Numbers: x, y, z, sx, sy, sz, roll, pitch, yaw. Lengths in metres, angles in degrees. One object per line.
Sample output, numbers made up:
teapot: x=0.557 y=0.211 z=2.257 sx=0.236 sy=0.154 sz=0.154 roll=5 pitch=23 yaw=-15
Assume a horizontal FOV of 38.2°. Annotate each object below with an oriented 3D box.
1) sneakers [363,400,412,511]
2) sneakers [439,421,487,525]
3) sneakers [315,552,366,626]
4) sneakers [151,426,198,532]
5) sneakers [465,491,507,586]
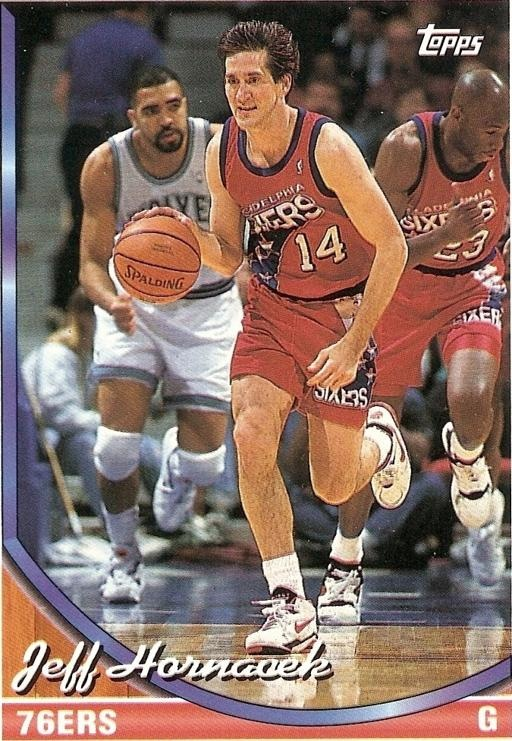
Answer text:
sneakers: x=0.389 y=0.253 z=2.167 sx=0.145 sy=0.283 sz=0.125 roll=-3 pitch=8 yaw=18
sneakers: x=0.627 y=0.300 z=2.146 sx=0.124 sy=0.110 sz=0.311 roll=-6 pitch=41 yaw=13
sneakers: x=0.228 y=0.624 z=2.089 sx=0.083 sy=0.217 sz=0.096 roll=6 pitch=-24 yaw=-2
sneakers: x=-0.248 y=0.329 z=2.153 sx=0.111 sy=0.315 sz=0.134 roll=5 pitch=8 yaw=-13
sneakers: x=0.640 y=0.495 z=2.141 sx=0.105 sy=0.275 sz=0.117 roll=1 pitch=17 yaw=8
